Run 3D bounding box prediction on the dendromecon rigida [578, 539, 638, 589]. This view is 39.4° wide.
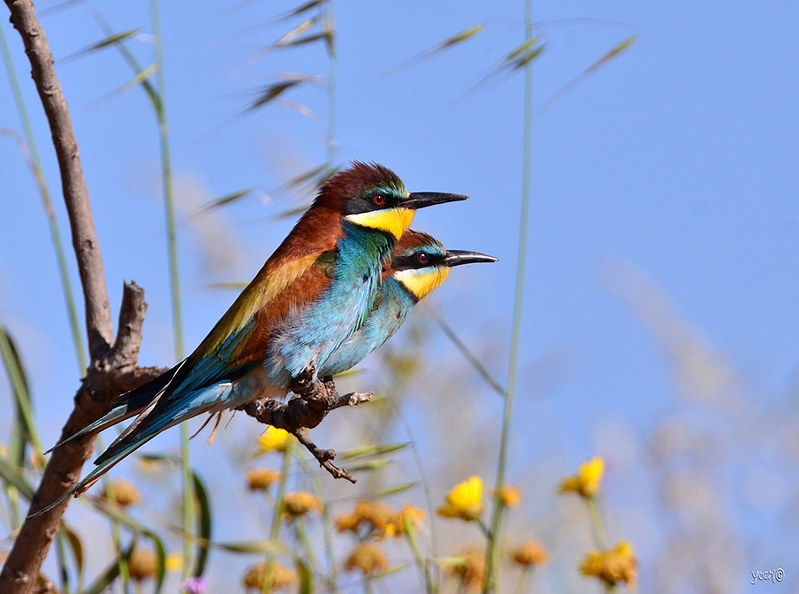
[{"bbox_3d":[0.489,0.631,2.634,0.131,0.117,0.058,1,-43,9],"label":"dendromecon rigida"}]

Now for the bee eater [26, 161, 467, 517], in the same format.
[{"bbox_3d":[-0.378,0.075,3.053,1.150,0.810,0.315,-6,-4,0],"label":"bee eater"}]

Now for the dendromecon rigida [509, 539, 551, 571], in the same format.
[{"bbox_3d":[0.313,0.626,2.695,0.066,0.061,0.061,2,-10,4],"label":"dendromecon rigida"}]

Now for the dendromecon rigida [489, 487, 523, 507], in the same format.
[{"bbox_3d":[0.263,0.483,2.713,0.050,0.030,0.065,1,8,1],"label":"dendromecon rigida"}]
